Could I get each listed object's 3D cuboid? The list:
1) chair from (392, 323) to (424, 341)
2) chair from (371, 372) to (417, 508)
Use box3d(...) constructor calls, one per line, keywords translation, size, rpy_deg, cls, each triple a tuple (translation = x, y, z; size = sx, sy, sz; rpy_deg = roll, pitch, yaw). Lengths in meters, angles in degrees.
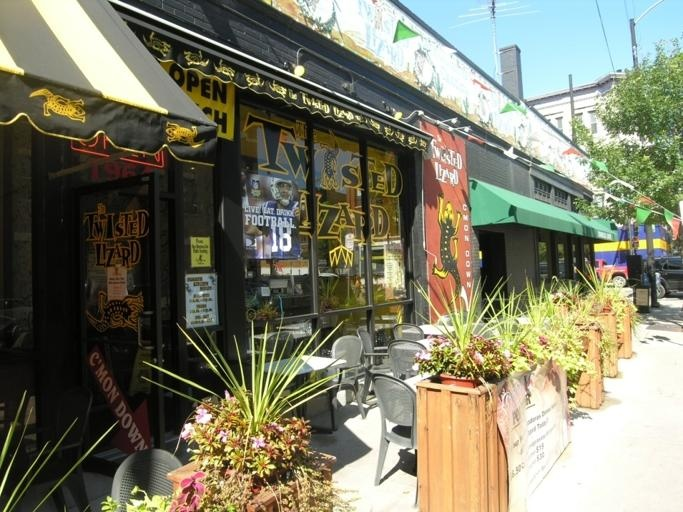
box3d(translation=(0.998, 1.135, 8.574), size=(0.292, 0.363, 0.304), rpy_deg=(1, -5, -23), cls="chair")
box3d(translation=(0.507, 1.722, 5.697), size=(0.454, 0.931, 0.909), rpy_deg=(-5, -2, 2), cls="chair")
